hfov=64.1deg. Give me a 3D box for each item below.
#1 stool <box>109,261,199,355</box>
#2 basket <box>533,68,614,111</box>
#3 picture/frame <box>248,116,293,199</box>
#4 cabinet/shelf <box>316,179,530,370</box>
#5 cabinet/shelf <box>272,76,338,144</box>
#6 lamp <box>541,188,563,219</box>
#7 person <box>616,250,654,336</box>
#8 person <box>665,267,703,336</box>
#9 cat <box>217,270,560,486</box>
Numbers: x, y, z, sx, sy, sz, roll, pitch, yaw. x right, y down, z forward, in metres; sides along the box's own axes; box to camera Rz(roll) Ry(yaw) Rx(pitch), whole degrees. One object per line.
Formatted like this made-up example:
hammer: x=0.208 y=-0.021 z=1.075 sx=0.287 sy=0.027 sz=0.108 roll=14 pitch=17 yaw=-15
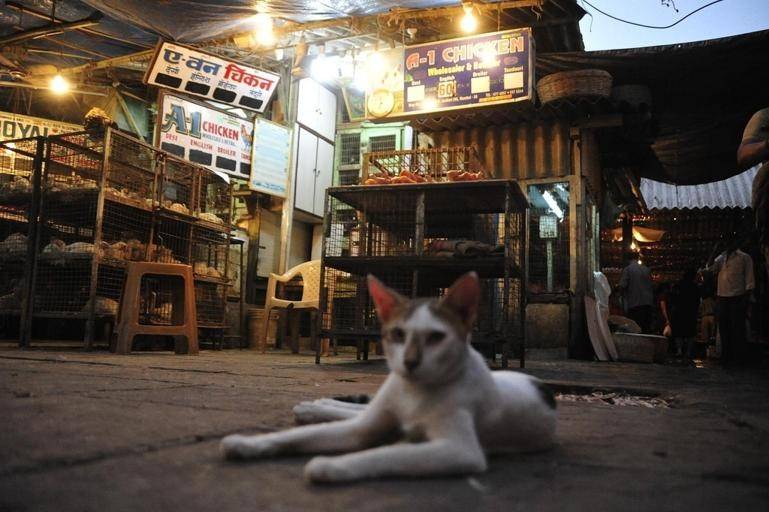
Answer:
stool: x=-2.890 y=0.664 z=7.880 sx=1.257 sy=1.124 sz=1.194 roll=0 pitch=-8 yaw=1
basket: x=2.981 y=-2.639 z=9.662 sx=0.740 sy=0.266 sz=0.715 roll=4 pitch=6 yaw=34
picture/frame: x=-2.287 y=-1.979 z=12.321 sx=0.181 sy=1.488 sz=1.037 roll=5 pitch=4 yaw=38
cabinet/shelf: x=0.304 y=-0.120 z=8.065 sx=3.202 sy=2.922 sz=2.354 roll=-1 pitch=-4 yaw=15
cabinet/shelf: x=-1.770 y=-3.177 z=13.254 sx=0.536 sy=1.020 sz=1.700 roll=2 pitch=-6 yaw=28
lamp: x=2.892 y=-0.884 z=10.497 sx=0.408 sy=0.515 sz=0.390 roll=3 pitch=3 yaw=15
person: x=4.680 y=0.721 z=11.398 sx=0.583 sy=1.387 sz=0.990 roll=3 pitch=3 yaw=21
person: x=6.151 y=1.007 z=12.616 sx=0.507 sy=1.491 sz=1.415 roll=4 pitch=3 yaw=25
cat: x=0.203 y=0.653 z=3.370 sx=0.995 sy=0.705 sz=1.572 roll=-6 pitch=-13 yaw=28
